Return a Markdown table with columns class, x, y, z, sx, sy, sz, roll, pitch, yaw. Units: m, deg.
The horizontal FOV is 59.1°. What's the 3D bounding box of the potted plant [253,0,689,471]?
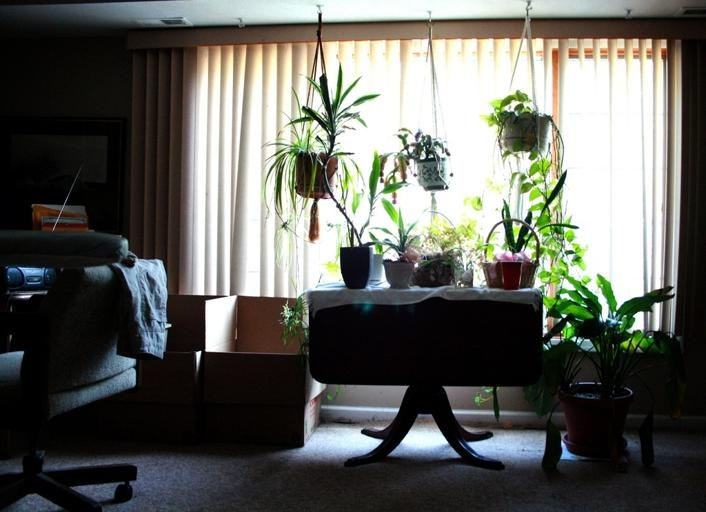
| class | x | y | z | sx | sy | sz | roll | pitch | yaw |
| --- | --- | --- | --- | --- | --- | --- | --- | --- | --- |
| potted plant | 0.823 | -0.113 | 3.691 | 2.333 | 2.959 | 0.978 | 1 | 4 | 10 |
